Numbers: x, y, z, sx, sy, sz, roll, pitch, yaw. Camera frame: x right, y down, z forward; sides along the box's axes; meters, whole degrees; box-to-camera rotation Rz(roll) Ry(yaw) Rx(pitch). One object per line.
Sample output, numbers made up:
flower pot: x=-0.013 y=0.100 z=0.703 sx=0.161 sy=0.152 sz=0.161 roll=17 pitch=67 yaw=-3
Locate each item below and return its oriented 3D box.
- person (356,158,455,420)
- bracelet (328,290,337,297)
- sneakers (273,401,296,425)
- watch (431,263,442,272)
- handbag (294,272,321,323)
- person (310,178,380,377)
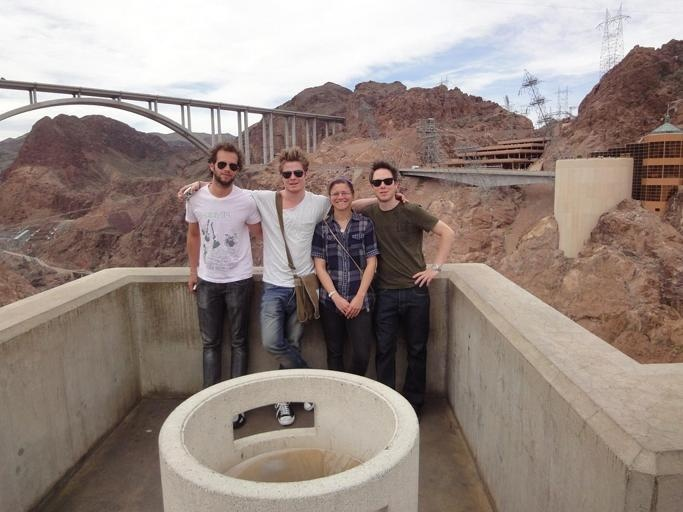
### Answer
person: x=0.329 y=0.262 z=3.183 sx=0.912 sy=1.805 sz=0.565 roll=-4 pitch=13 yaw=-1
bracelet: x=-0.058 y=0.242 z=2.997 sx=0.044 sy=0.011 sz=0.045 roll=-13 pitch=-8 yaw=-40
sneakers: x=-0.373 y=1.000 z=3.058 sx=0.125 sy=0.161 sz=0.213 roll=-6 pitch=12 yaw=-9
watch: x=0.636 y=0.063 z=3.145 sx=0.082 sy=0.051 sz=0.076 roll=5 pitch=3 yaw=13
handbag: x=-0.224 y=0.252 z=3.037 sx=0.147 sy=0.306 sz=0.288 roll=-5 pitch=6 yaw=14
person: x=0.057 y=0.172 z=3.086 sx=0.415 sy=1.368 sz=0.384 roll=-10 pitch=14 yaw=-23
